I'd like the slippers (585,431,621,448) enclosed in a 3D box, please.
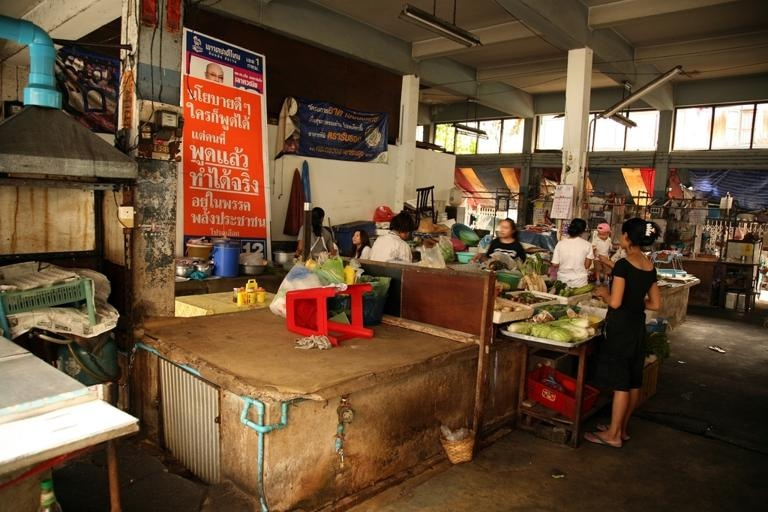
[{"bbox_3d":[2.228,1.851,5.357,0.267,0.056,0.143,5,-1,16],"label":"slippers"}]

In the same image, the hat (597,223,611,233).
[{"bbox_3d":[4.017,-0.501,9.596,0.197,0.104,0.269,8,14,35],"label":"hat"}]

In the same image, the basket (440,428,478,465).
[{"bbox_3d":[0.727,1.737,4.935,0.327,0.239,0.338,-2,-3,33],"label":"basket"}]

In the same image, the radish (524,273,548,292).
[{"bbox_3d":[1.729,0.305,6.009,0.208,0.245,0.270,-6,6,-37],"label":"radish"}]

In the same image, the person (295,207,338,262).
[{"bbox_3d":[-1.090,-0.320,8.174,0.530,0.854,0.782,10,14,-19],"label":"person"}]

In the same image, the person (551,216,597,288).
[{"bbox_3d":[2.611,-0.024,7.155,0.591,1.018,0.705,0,-1,-3],"label":"person"}]

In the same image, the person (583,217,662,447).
[{"bbox_3d":[2.419,0.799,5.485,0.797,2.083,0.676,-1,2,-38],"label":"person"}]

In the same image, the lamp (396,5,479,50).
[{"bbox_3d":[0.889,-3.742,8.521,1.776,0.311,0.321,-5,7,-45],"label":"lamp"}]

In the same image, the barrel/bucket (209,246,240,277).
[{"bbox_3d":[-2.202,0.089,7.580,0.470,0.446,0.372,2,0,2],"label":"barrel/bucket"}]
